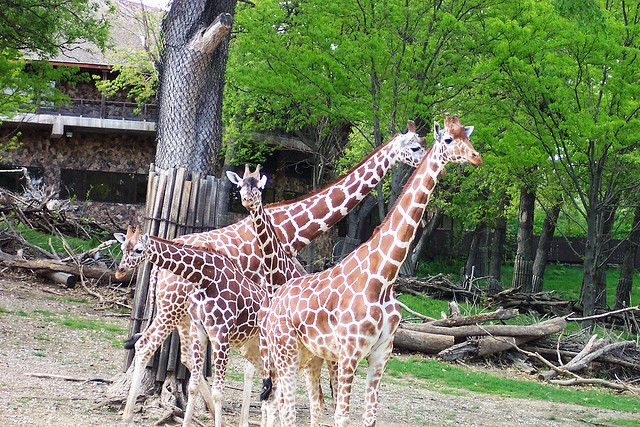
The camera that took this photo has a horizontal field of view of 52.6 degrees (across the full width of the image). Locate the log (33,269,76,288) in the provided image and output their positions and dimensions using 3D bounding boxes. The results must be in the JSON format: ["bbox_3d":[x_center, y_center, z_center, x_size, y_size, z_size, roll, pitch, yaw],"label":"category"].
[{"bbox_3d":[-7.792,1.905,19.159,1.219,0.520,0.309,8,-3,18],"label":"log"}]

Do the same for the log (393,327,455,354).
[{"bbox_3d":[3.044,3.604,18.095,0.406,0.689,2.249,-14,-3,-38],"label":"log"}]

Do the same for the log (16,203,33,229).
[{"bbox_3d":[-9.540,0.058,20.941,0.115,0.863,0.123,-19,14,33],"label":"log"}]

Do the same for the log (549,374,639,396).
[{"bbox_3d":[6.962,4.403,16.464,1.991,0.430,0.785,0,34,0],"label":"log"}]

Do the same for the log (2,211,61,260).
[{"bbox_3d":[-8.770,0.766,19.845,1.984,1.413,1.051,8,-3,15],"label":"log"}]

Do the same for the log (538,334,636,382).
[{"bbox_3d":[7.083,3.901,17.393,2.723,0.301,0.991,-23,33,-29],"label":"log"}]

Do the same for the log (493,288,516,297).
[{"bbox_3d":[6.548,2.815,22.949,0.644,0.097,0.097,-23,26,-11],"label":"log"}]
